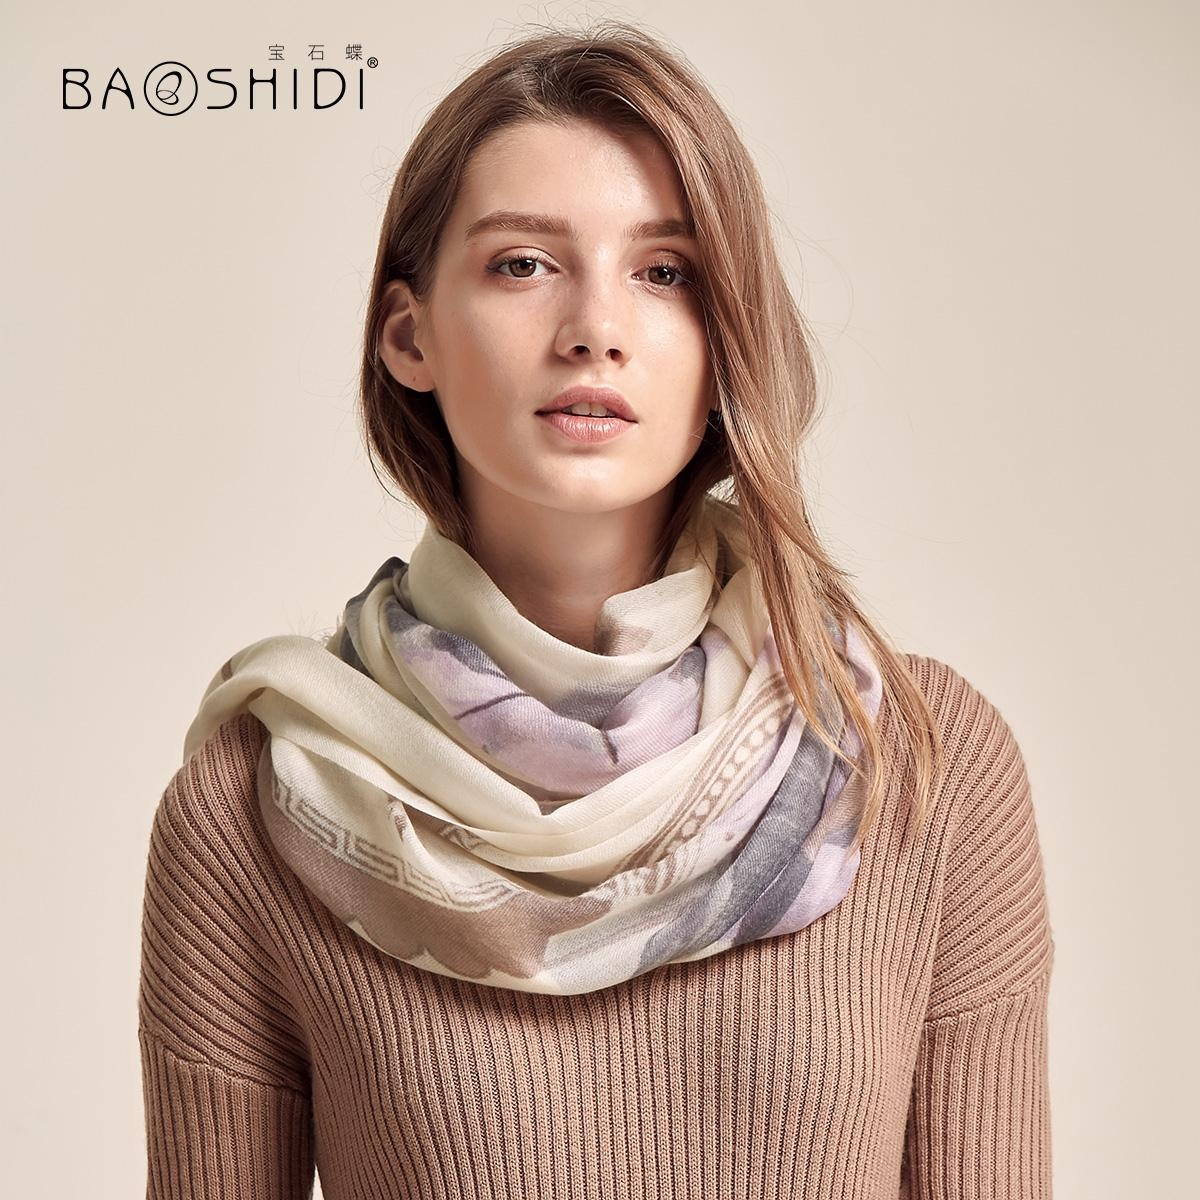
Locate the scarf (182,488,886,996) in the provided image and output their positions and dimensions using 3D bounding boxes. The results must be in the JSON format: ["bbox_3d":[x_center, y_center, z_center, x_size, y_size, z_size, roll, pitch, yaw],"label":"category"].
[{"bbox_3d":[-0.034,0.111,1.422,0.760,0.345,0.360,1,0,0],"label":"scarf"}]
